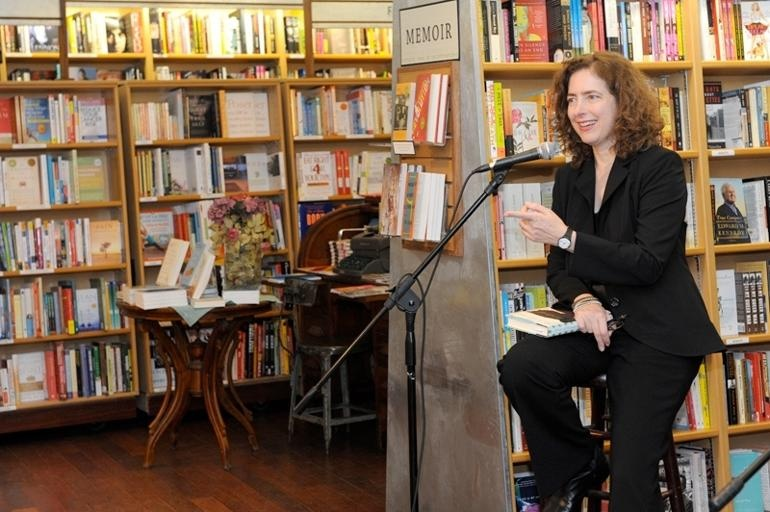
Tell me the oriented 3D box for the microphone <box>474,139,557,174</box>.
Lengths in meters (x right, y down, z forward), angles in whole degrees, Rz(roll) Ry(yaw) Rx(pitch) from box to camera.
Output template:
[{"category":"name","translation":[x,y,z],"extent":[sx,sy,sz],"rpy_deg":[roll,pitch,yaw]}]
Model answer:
[{"category":"microphone","translation":[0.561,-0.407,2.819],"extent":[0.326,0.112,0.168],"rpy_deg":[1,6,26]}]

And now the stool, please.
[{"category":"stool","translation":[-0.489,1.009,5.098],"extent":[0.778,0.910,0.766],"rpy_deg":[1,0,-35]}]

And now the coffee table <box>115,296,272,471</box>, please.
[{"category":"coffee table","translation":[-1.330,0.907,4.993],"extent":[1.219,1.187,1.158],"rpy_deg":[-1,1,-6]}]

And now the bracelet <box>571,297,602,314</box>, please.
[{"category":"bracelet","translation":[0.846,0.205,2.831],"extent":[0.084,0.031,0.081],"rpy_deg":[-7,0,-8]}]

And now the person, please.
[{"category":"person","translation":[0.958,0.090,2.844],"extent":[0.868,1.940,0.589],"rpy_deg":[0,6,25]}]

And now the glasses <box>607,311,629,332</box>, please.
[{"category":"glasses","translation":[0.970,0.266,2.783],"extent":[0.040,0.042,0.158],"rpy_deg":[35,34,27]}]
